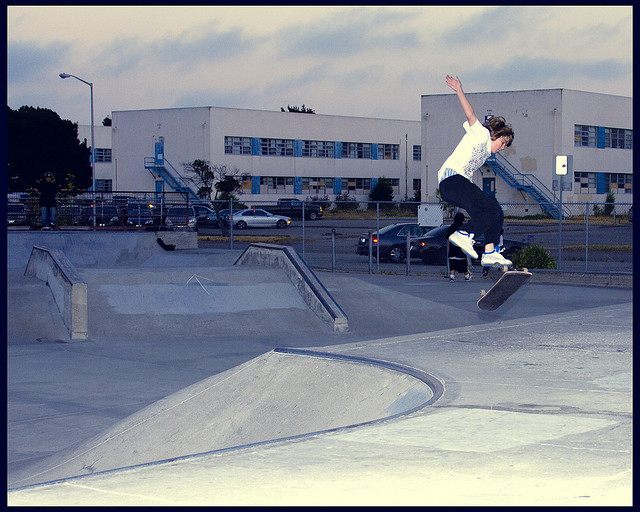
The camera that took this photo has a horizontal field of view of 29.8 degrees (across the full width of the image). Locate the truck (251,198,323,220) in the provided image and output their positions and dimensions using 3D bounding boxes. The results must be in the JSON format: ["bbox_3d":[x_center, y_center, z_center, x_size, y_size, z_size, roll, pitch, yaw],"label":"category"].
[{"bbox_3d":[-1.566,-1.949,58.102,3.617,1.088,1.384,0,6,3],"label":"truck"}]

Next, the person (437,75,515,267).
[{"bbox_3d":[1.978,-1.013,15.197,0.961,2.390,1.390,-2,2,9],"label":"person"}]

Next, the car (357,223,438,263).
[{"bbox_3d":[1.957,-0.283,30.931,2.078,0.671,0.855,-4,5,-15],"label":"car"}]

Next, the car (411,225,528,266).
[{"bbox_3d":[3.729,-0.107,29.879,2.758,0.899,1.168,0,3,-9],"label":"car"}]

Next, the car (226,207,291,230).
[{"bbox_3d":[-2.719,-1.526,51.815,2.906,0.892,1.244,-2,5,-16],"label":"car"}]

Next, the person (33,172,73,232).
[{"bbox_3d":[-6.686,-1.289,29.625,0.489,1.375,1.163,-3,2,-12],"label":"person"}]

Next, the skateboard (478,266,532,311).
[{"bbox_3d":[2.488,0.442,16.753,0.402,0.149,1.022,10,-36,-27],"label":"skateboard"}]
